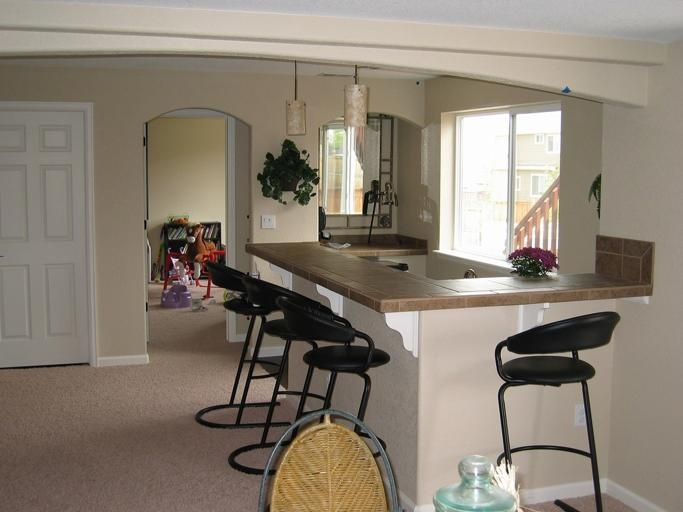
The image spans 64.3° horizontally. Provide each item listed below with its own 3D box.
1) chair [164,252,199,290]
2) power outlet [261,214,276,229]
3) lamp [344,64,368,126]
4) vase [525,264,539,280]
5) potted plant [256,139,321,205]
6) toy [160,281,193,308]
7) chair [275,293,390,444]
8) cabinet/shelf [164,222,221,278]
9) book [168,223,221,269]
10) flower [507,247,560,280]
[{"bbox_3d":[-2.938,0.369,10.059,0.662,0.734,0.725,-3,9,-17],"label":"chair"},{"bbox_3d":[-0.833,-0.389,6.125,0.153,0.164,0.016,1,1,-15],"label":"power outlet"},{"bbox_3d":[0.095,-1.006,3.507,0.143,0.351,0.238,0,9,3],"label":"lamp"},{"bbox_3d":[1.242,0.101,3.536,0.090,0.068,0.088,4,-1,-39],"label":"vase"},{"bbox_3d":[-0.557,-0.935,6.141,0.666,0.523,0.703,8,13,30],"label":"potted plant"},{"bbox_3d":[-2.676,0.626,8.823,0.386,0.330,0.412,1,-2,-16],"label":"toy"},{"bbox_3d":[-0.011,0.576,3.321,0.688,0.951,0.694,-1,4,-16],"label":"chair"},{"bbox_3d":[-2.690,-0.089,9.589,0.992,0.983,0.329,0,-3,-11],"label":"cabinet/shelf"},{"bbox_3d":[-2.685,-0.158,9.730,0.822,0.819,0.298,0,-3,-9],"label":"book"},{"bbox_3d":[1.254,0.042,3.583,0.303,0.188,0.218,2,9,18],"label":"flower"}]
